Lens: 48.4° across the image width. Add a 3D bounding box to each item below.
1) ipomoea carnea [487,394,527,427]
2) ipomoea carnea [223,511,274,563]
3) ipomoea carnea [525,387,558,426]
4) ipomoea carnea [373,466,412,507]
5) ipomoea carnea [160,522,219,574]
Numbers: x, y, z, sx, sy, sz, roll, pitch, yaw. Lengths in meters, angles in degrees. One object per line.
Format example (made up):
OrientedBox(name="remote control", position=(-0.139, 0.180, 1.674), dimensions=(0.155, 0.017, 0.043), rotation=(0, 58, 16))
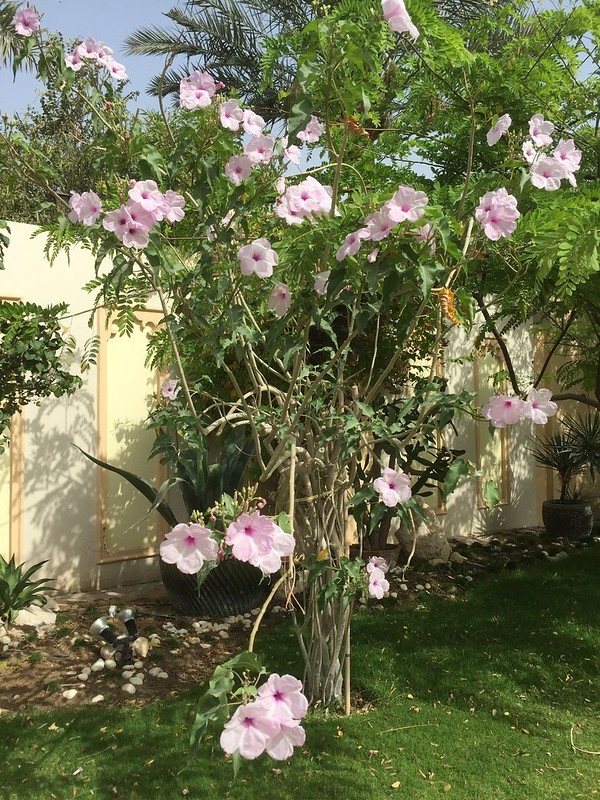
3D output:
OrientedBox(name="ipomoea carnea", position=(0.498, 0.022, 1.605), dimensions=(0.085, 0.081, 0.033), rotation=(-12, 18, 19))
OrientedBox(name="ipomoea carnea", position=(-0.085, 0.222, 1.078), dimensions=(0.077, 0.075, 0.053), rotation=(2, -1, -36))
OrientedBox(name="ipomoea carnea", position=(0.568, 0.017, 1.608), dimensions=(0.107, 0.099, 0.053), rotation=(1, -8, -26))
OrientedBox(name="ipomoea carnea", position=(0.225, 0.226, 1.773), dimensions=(0.108, 0.106, 0.042), rotation=(41, -31, -23))
OrientedBox(name="ipomoea carnea", position=(-0.190, 0.244, 1.141), dimensions=(0.103, 0.086, 0.092), rotation=(-3, 5, -35))
